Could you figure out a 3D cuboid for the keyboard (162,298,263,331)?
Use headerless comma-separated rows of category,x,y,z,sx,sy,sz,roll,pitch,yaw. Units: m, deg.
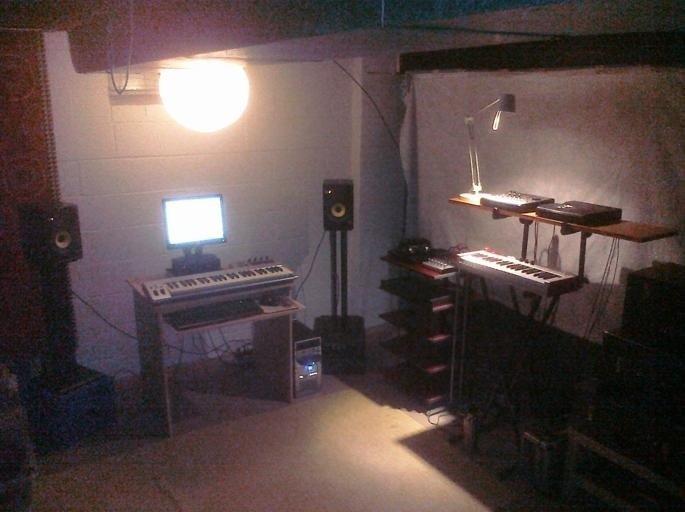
keyboard,-0.720,0.324,3.257,0.519,0.093,0.159,-7,12,-26

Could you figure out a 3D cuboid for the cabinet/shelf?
cabinet/shelf,0.589,0.482,3.637,0.401,0.671,0.543,-8,-3,-18

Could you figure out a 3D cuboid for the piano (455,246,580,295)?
piano,0.939,0.086,3.206,0.648,0.165,0.285,9,15,44

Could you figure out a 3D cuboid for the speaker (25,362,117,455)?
speaker,-1.505,0.855,3.198,0.457,0.410,0.433,-10,14,-43

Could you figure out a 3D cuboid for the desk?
desk,-0.746,0.519,3.467,0.928,0.838,0.517,-7,13,-40

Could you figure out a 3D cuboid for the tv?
tv,-0.900,-0.138,3.497,0.384,0.428,0.246,-7,21,-32

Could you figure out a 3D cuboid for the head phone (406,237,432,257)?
head phone,0.503,-0.070,3.866,0.141,0.046,0.125,3,17,9

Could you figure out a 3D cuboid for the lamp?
lamp,0.865,-0.647,3.547,0.280,0.628,0.770,0,11,11
